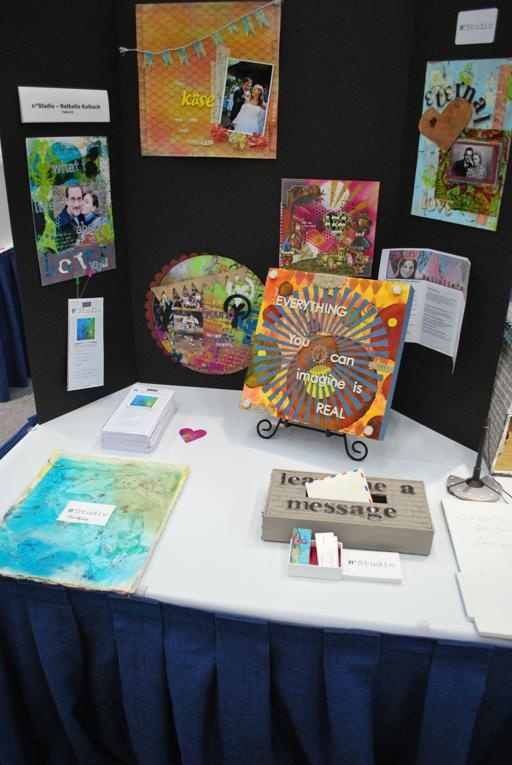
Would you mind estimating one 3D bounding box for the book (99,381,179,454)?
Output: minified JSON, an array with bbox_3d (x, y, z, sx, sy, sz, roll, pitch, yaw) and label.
[{"bbox_3d":[-0.300,0.084,1.407,0.105,0.045,0.182,4,31,7],"label":"book"}]
